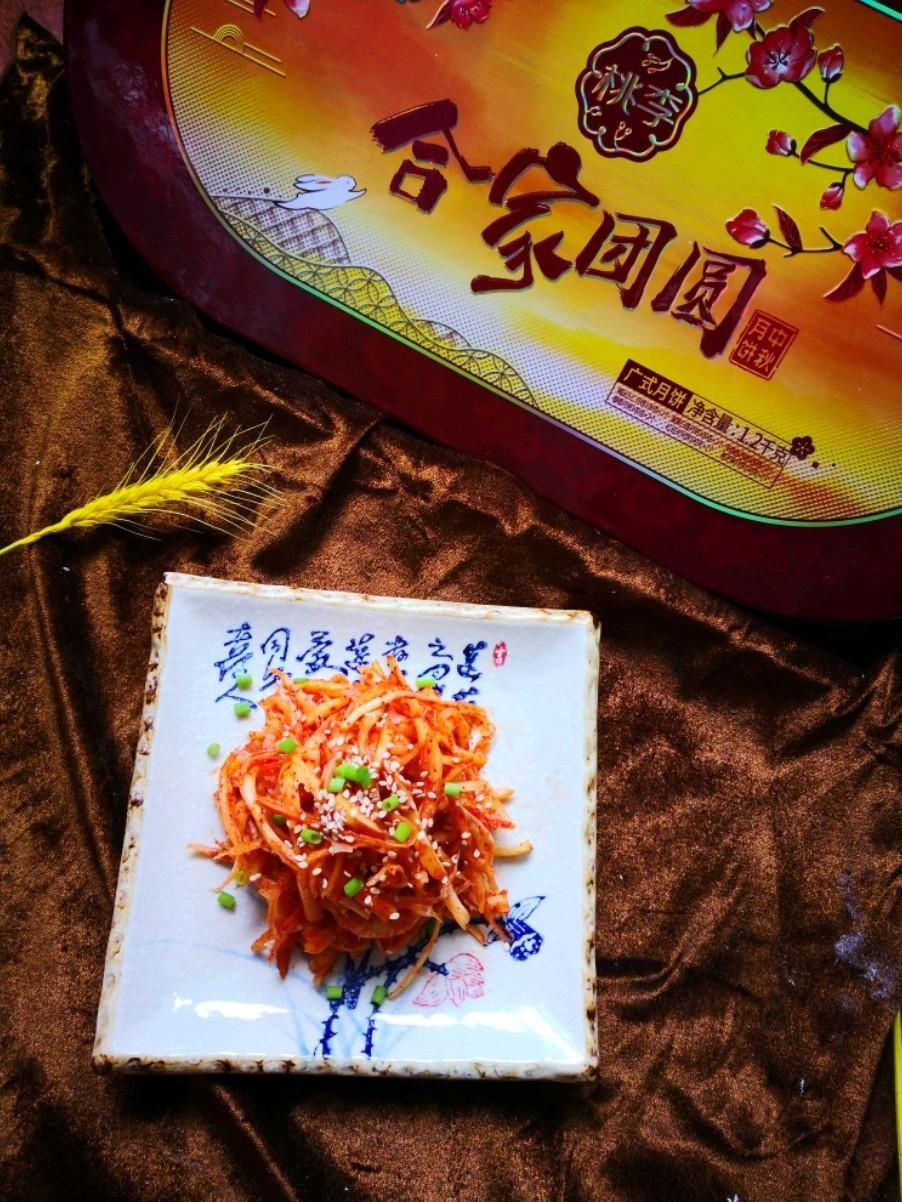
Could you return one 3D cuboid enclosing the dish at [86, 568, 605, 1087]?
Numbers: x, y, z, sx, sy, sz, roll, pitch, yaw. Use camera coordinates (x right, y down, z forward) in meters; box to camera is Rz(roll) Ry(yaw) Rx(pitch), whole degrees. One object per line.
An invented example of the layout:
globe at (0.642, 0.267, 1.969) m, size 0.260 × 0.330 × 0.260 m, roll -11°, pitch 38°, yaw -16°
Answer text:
dish at (-0.137, 0.368, 1.976) m, size 0.786 × 0.549 × 0.659 m, roll 5°, pitch 39°, yaw -8°
